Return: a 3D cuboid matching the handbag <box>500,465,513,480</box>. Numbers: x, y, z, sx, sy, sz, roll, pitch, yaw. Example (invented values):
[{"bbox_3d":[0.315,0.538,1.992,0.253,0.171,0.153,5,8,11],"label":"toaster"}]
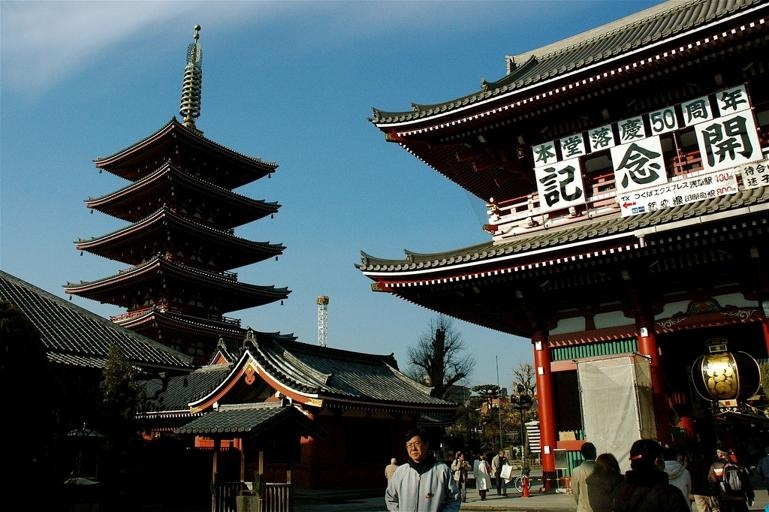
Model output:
[{"bbox_3d":[4.146,7.589,30.401,0.234,0.642,0.517,9,-3,5],"label":"handbag"}]
